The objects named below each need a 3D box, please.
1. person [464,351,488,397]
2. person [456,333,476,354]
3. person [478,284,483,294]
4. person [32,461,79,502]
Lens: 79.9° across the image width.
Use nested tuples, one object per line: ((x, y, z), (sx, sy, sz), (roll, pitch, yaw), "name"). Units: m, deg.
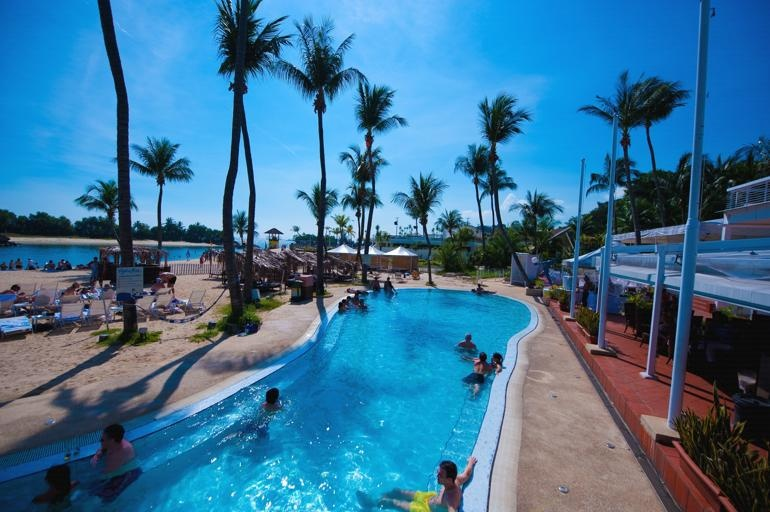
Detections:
((3.051, 3.863, 15.296), (0.536, 1.645, 0.482), (21, 22, 26), "person")
((3.102, 3.276, 17.542), (0.526, 0.705, 0.785), (-3, 1, -20), "person")
((5.676, 2.037, 27.791), (0.376, 0.332, 0.872), (-8, 18, 15), "person")
((-7.868, 5.439, 11.026), (0.744, 0.791, 0.377), (7, 7, -30), "person")
